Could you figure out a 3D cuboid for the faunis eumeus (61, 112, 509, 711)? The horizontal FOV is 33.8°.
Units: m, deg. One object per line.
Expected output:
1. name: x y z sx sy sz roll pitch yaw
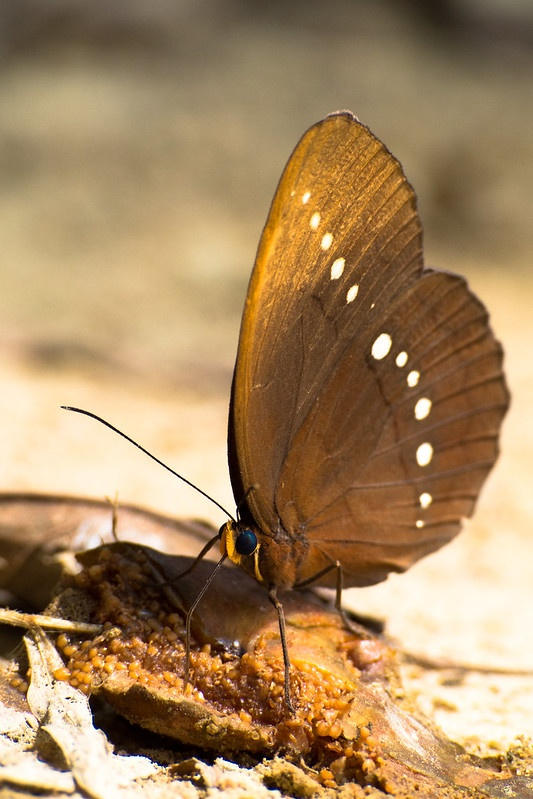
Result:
1. faunis eumeus: 0.374 0.257 3.447 1.757 1.741 2.319 12 -24 15
